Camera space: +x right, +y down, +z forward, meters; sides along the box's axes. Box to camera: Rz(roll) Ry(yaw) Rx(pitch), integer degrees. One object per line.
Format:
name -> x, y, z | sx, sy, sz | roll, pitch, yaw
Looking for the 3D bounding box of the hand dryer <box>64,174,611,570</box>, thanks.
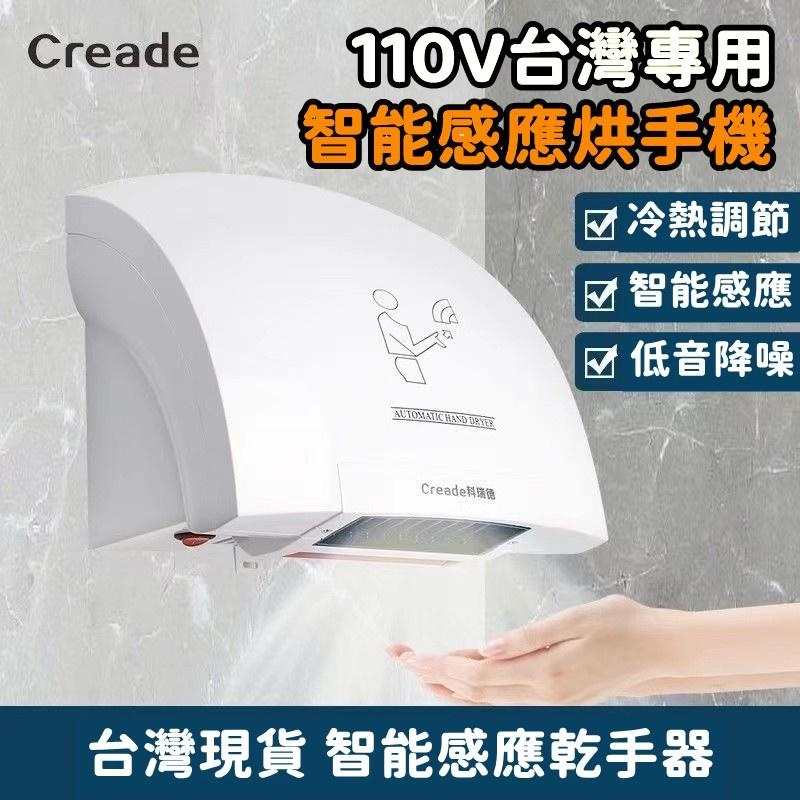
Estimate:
hand dryer -> -0.072, -0.028, 1.054 | 0.569, 0.422, 0.365 | -9, 19, -19
